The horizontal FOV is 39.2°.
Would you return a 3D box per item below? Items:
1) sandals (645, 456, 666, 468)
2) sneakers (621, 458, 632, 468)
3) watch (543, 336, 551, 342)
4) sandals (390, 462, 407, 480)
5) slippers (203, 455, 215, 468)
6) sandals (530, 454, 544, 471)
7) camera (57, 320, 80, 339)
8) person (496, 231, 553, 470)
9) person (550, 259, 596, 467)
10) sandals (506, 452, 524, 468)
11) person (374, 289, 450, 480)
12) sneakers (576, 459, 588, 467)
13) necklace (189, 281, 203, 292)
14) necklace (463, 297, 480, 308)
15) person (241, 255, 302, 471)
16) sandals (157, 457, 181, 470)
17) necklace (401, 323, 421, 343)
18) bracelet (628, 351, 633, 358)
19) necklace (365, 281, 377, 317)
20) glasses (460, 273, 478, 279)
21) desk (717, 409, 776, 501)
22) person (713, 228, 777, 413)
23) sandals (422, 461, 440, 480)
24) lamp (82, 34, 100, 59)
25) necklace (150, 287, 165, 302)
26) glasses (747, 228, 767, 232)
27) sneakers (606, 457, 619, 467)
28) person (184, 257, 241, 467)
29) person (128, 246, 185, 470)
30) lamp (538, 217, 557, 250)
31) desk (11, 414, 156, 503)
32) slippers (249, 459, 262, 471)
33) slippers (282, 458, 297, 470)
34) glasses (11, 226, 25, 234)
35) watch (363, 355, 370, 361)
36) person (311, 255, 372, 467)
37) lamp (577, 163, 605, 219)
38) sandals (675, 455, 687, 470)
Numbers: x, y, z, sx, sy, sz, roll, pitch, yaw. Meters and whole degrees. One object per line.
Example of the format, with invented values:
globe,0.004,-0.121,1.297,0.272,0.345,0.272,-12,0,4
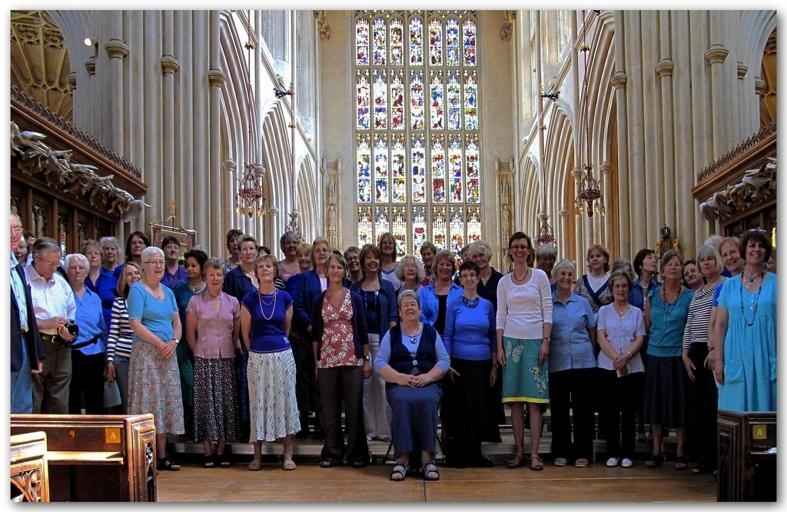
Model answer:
sandals,3.200,2.510,13.568,0.249,0.150,0.166,-1,-11,-5
sneakers,2.844,2.527,13.554,0.122,0.114,0.113,-4,-11,11
watch,1.877,1.010,13.567,0.068,0.047,0.071,-8,-21,28
sandals,0.060,2.581,13.251,0.207,0.202,0.190,-2,-11,-1
slippers,-2.267,2.532,13.682,0.150,0.153,0.086,1,-11,-18
sandals,1.742,2.524,13.538,0.161,0.189,0.228,-3,-11,7
camera,-3.699,0.809,12.666,0.196,0.188,0.088,9,22,31
person,1.616,1.163,13.640,0.685,2.903,0.491,-2,-10,-2
person,2.218,1.326,13.793,0.629,2.566,0.570,-4,-10,10
sandals,1.511,2.525,13.652,0.105,0.133,0.331,-8,-13,28
person,0.232,1.564,13.477,0.886,2.300,0.308,-2,-10,1
sneakers,2.302,2.537,13.598,0.086,0.044,0.123,0,5,17
necklace,-2.520,0.377,14.128,0.154,0.159,0.037,12,-9,4
necklace,0.967,0.571,13.745,0.125,0.035,0.121,-22,39,-29
person,-1.522,1.307,13.615,0.681,2.622,0.442,0,-10,-8
sandals,-2.756,2.540,13.574,0.275,0.113,0.121,0,5,12
necklace,0.220,0.937,13.563,0.163,0.230,0.054,-2,-16,5
bracelet,2.923,1.214,13.689,0.059,0.064,0.149,-7,-12,24
necklace,-0.297,0.556,14.162,0.223,0.399,0.116,-1,-6,-3
glasses,0.931,0.238,13.710,0.213,0.104,0.133,-2,-11,-2
desk,3.634,2.083,11.744,0.757,1.080,1.076,-3,-4,23
person,4.038,0.762,12.711,0.419,2.017,0.838,6,-13,-37
sandals,0.446,2.574,13.281,0.229,0.229,0.295,-1,-11,-6
lamp,-5.200,-3.642,19.016,0.168,0.476,0.424,5,-13,-32
necklace,-2.880,0.461,13.559,0.129,0.149,0.170,-3,-20,2
glasses,4.385,-0.327,13.413,0.160,0.041,0.149,1,3,-13
sneakers,2.696,2.531,13.606,0.225,0.122,0.122,6,-13,-36
person,-2.220,1.330,13.787,0.518,2.530,0.562,-8,-12,29
person,-2.889,1.022,13.449,0.667,2.214,0.499,1,-11,-14
lamp,3.849,-0.594,28.119,0.479,0.125,0.905,-3,-53,2
desk,-3.159,2.101,11.541,1.274,0.929,0.435,-3,-11,5
slippers,-1.698,2.566,13.582,0.169,0.123,0.123,1,-11,-15
slippers,-1.250,2.569,13.628,0.146,0.133,0.232,-9,-13,31
glasses,-4.221,-0.304,12.435,0.153,0.050,0.150,-4,-2,40
watch,-0.342,1.269,13.811,0.067,0.069,0.034,5,-16,-42
person,-0.658,1.306,13.767,0.696,2.588,0.635,-2,-10,-2
lamp,4.149,-1.428,23.494,0.527,1.199,0.511,1,-3,-31
sandals,3.476,2.495,13.400,0.118,0.146,0.157,-5,-34,11
